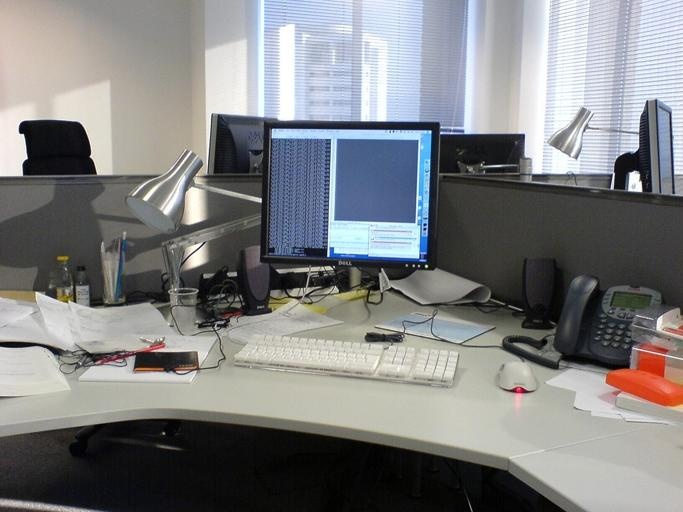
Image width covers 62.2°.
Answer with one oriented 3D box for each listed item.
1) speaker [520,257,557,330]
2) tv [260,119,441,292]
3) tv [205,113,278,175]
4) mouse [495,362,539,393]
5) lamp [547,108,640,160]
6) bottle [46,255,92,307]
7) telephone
[{"bbox_3d":[0.618,0.105,1.784,0.102,0.226,0.130,-3,34,12],"label":"speaker"},{"bbox_3d":[0.024,-0.172,1.834,0.572,0.496,0.051,1,0,4],"label":"tv"},{"bbox_3d":[-0.410,-0.447,2.372,0.298,0.237,0.025,-6,14,-44],"label":"tv"},{"bbox_3d":[0.449,0.300,1.446,0.098,0.048,0.137,2,10,21],"label":"mouse"},{"bbox_3d":[1.228,-0.560,2.734,0.463,0.236,0.149,12,19,-14],"label":"lamp"},{"bbox_3d":[-0.905,0.087,1.868,0.135,0.208,0.069,5,11,13],"label":"bottle"},{"bbox_3d":[0.728,0.170,1.552,0.267,0.105,0.327,-8,22,29],"label":"telephone"}]
